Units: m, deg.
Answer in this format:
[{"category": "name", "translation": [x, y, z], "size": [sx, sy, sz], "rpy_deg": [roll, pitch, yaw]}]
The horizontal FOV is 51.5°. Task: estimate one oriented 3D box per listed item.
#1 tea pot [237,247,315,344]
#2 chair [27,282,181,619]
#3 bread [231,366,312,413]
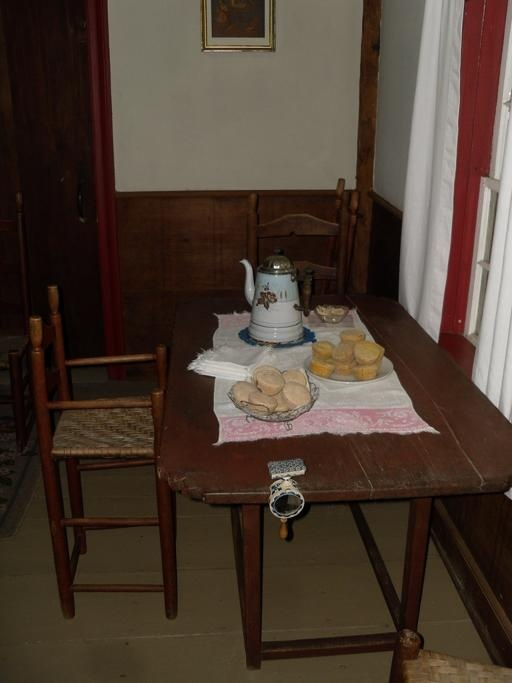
[{"category": "tea pot", "translation": [0.056, -0.129, 1.574], "size": [0.194, 0.272, 0.172], "rpy_deg": [8, 17, 22]}, {"category": "chair", "translation": [-0.514, 0.372, 1.829], "size": [0.420, 1.123, 0.550], "rpy_deg": [-2, 33, -7]}, {"category": "bread", "translation": [0.046, 0.104, 1.105], "size": [0.110, 0.040, 0.106], "rpy_deg": [-19, 33, -35]}]
